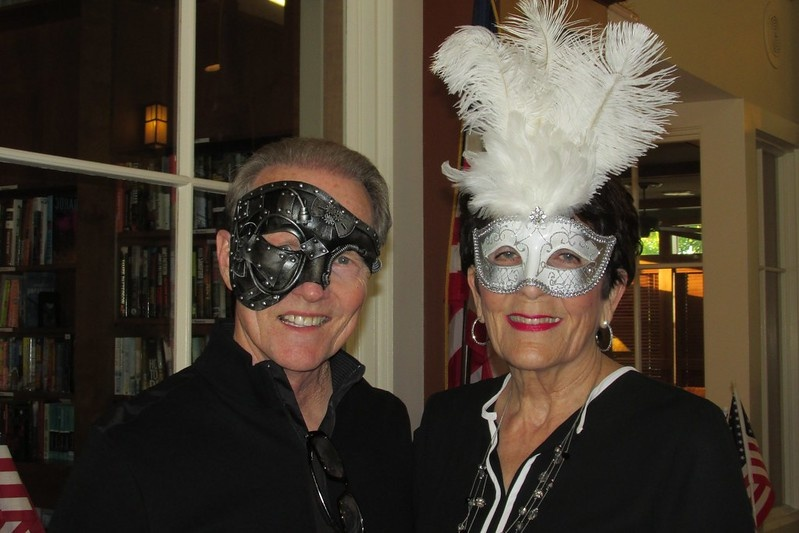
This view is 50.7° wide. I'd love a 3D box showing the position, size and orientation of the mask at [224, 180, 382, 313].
[{"bbox_3d":[-0.316,-0.053,2.950,0.500,0.456,0.231,11,-1,-23],"label":"mask"}]
